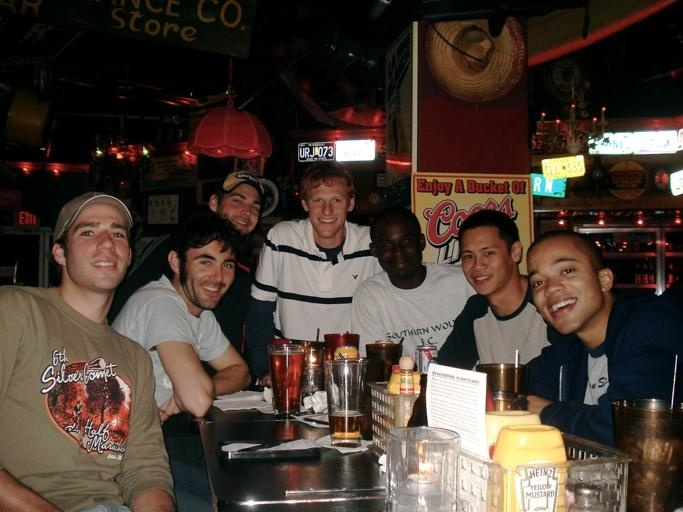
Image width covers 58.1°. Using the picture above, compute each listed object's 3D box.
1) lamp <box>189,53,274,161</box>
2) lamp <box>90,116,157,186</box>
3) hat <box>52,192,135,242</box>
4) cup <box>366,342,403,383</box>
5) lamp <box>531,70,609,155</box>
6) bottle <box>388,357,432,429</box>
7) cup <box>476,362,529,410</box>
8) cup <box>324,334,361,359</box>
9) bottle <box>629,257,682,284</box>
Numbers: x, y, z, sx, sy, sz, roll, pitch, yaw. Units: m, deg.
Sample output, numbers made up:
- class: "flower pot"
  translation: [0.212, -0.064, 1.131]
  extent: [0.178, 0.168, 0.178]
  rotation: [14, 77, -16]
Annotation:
- class: "lamp"
  translation: [-1.069, -1.408, 5.862]
  extent: [0.738, 0.832, 0.735]
  rotation: [6, 7, 28]
- class: "lamp"
  translation: [-3.683, -1.741, 10.192]
  extent: [1.040, 1.230, 1.080]
  rotation: [7, 9, 22]
- class: "hat"
  translation: [-1.074, -0.195, 2.665]
  extent: [0.212, 0.289, 0.279]
  rotation: [12, 9, -27]
- class: "cup"
  translation: [0.153, 0.408, 2.370]
  extent: [0.118, 0.135, 0.147]
  rotation: [2, -2, -16]
- class: "lamp"
  translation: [3.554, -2.251, 9.397]
  extent: [1.183, 1.464, 1.203]
  rotation: [2, 4, 34]
- class: "bottle"
  translation: [0.210, 0.444, 1.960]
  extent: [0.127, 0.206, 0.277]
  rotation: [-1, -1, 4]
- class: "cup"
  translation: [0.549, 0.436, 2.070]
  extent: [0.162, 0.172, 0.144]
  rotation: [1, -10, 1]
- class: "cup"
  translation: [-0.001, 0.394, 2.651]
  extent: [0.113, 0.085, 0.110]
  rotation: [0, -11, 0]
- class: "bottle"
  translation: [4.684, 0.228, 9.106]
  extent: [0.707, 0.221, 0.239]
  rotation: [-3, -16, 14]
